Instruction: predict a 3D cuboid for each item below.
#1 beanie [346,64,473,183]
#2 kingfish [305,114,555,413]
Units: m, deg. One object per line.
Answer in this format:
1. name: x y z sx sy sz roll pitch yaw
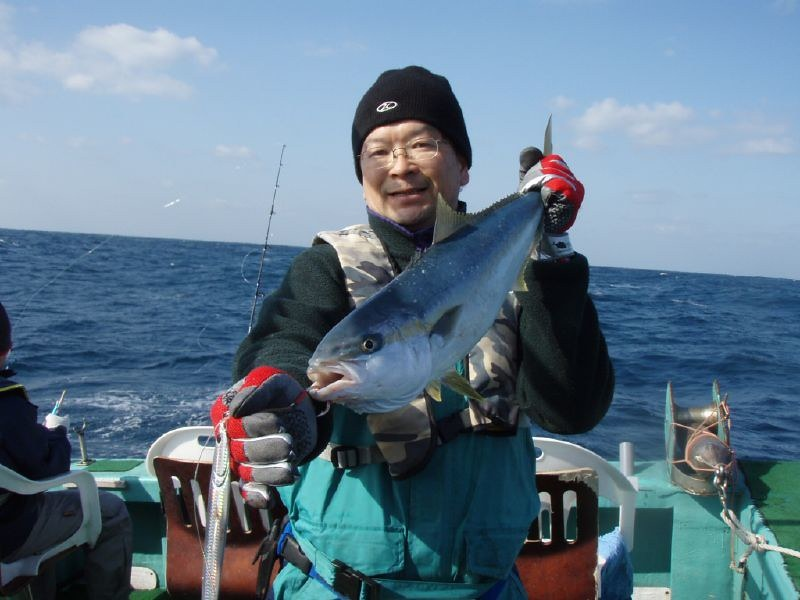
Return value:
1. beanie: 0.041 -1.366 5.126 0.824 0.657 0.739 -2 -7 -24
2. kingfish: 0.243 -0.033 4.145 0.615 1.230 1.504 12 12 39
